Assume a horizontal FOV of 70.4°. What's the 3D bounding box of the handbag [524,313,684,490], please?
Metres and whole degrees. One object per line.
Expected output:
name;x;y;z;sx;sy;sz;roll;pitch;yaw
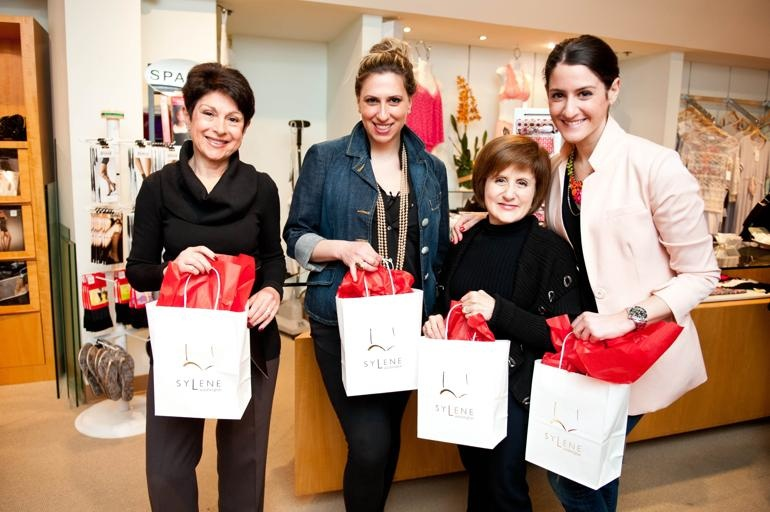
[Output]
handbag;0.954;0.637;2.434;0.582;0.687;0.314;3;11;21

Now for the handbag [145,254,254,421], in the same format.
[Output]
handbag;-0.816;0.346;2.411;0.442;0.681;0.232;0;10;2

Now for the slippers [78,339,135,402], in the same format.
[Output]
slippers;-1.985;0.822;3.970;0.362;0.478;0.156;-2;13;15

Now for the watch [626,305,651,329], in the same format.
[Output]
watch;1.129;0.267;2.427;0.069;0.106;0.100;-12;-5;-2

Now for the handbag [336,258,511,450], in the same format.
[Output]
handbag;0.165;0.453;2.520;0.794;0.774;0.205;1;10;10
